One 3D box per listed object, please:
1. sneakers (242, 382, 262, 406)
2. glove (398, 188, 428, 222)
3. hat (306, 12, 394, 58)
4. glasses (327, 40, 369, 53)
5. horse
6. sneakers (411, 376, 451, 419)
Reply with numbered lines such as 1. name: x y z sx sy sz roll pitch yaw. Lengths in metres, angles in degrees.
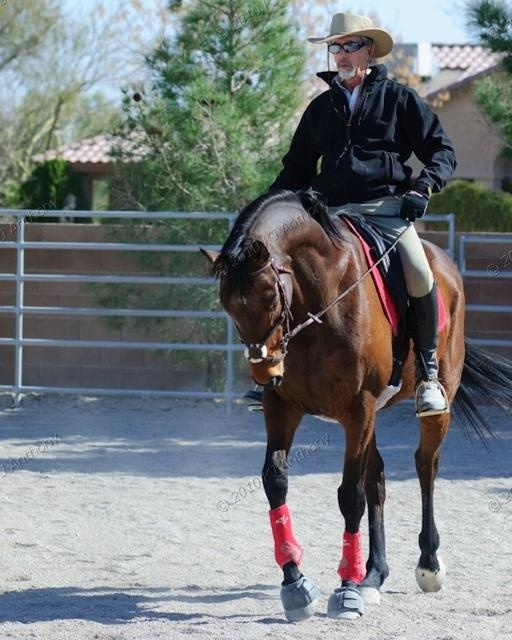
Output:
1. sneakers: -0.010 0.481 8.974 0.103 0.111 0.277 3 -3 10
2. glove: 0.930 -0.682 8.500 0.165 0.177 0.081 19 16 -3
3. hat: 0.657 -1.787 8.767 0.753 0.168 0.678 2 10 6
4. glasses: 0.564 -1.654 8.676 0.256 0.093 0.115 2 13 1
5. horse: 0.688 0.436 8.705 0.987 2.416 1.895 15 19 41
6. sneakers: 1.073 0.467 8.782 0.248 0.229 0.617 -5 -7 7
